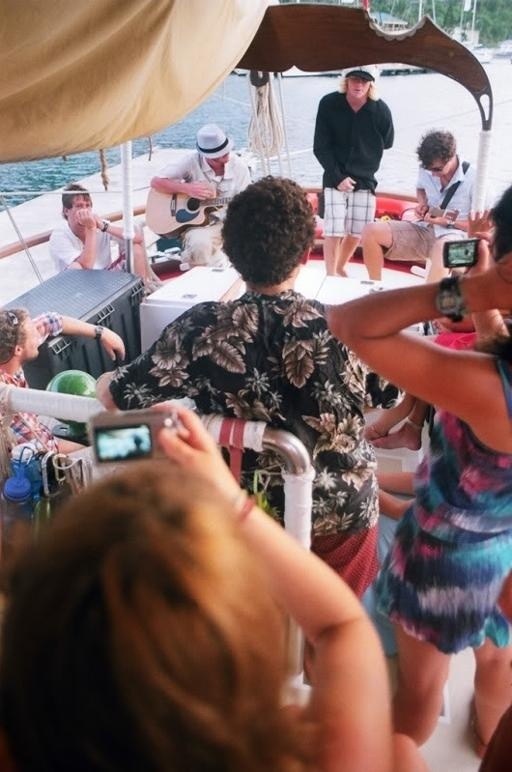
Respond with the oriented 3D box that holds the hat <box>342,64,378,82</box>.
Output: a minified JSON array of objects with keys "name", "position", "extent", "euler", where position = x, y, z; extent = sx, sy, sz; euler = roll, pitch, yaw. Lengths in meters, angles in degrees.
[{"name":"hat","position":[0.776,-2.335,4.256],"extent":[0.230,0.099,0.263],"euler":[2,27,8]}]

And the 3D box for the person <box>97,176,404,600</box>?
[{"name":"person","position":[0.056,0.228,1.765],"extent":[0.949,1.597,0.465],"euler":[-4,24,-5]}]

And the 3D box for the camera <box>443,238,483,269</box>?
[{"name":"camera","position":[0.394,-0.253,1.095],"extent":[0.106,0.060,0.040],"euler":[-22,33,-35]}]

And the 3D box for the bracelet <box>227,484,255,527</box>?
[{"name":"bracelet","position":[-0.012,0.111,0.534],"extent":[0.011,0.031,0.023],"euler":[-9,16,17]}]

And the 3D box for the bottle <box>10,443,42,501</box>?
[{"name":"bottle","position":[-0.449,0.171,1.113],"extent":[0.070,0.103,0.049],"euler":[0,-5,-6]}]

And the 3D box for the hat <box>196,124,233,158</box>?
[{"name":"hat","position":[-0.382,-2.082,4.834],"extent":[0.238,0.140,0.307],"euler":[-18,62,-2]}]

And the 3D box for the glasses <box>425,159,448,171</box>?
[{"name":"glasses","position":[1.311,-1.596,4.097],"extent":[0.076,0.080,0.024],"euler":[6,-22,44]}]

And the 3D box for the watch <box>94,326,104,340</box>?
[{"name":"watch","position":[-0.737,-0.245,2.659],"extent":[0.037,0.055,0.049],"euler":[20,-27,-28]}]

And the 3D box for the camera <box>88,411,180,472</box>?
[{"name":"camera","position":[-0.122,0.047,0.533],"extent":[0.068,0.049,0.020],"euler":[-3,-13,-16]}]

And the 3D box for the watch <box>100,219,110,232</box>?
[{"name":"watch","position":[-1.193,-1.275,4.494],"extent":[0.076,0.116,0.103],"euler":[7,14,-8]}]

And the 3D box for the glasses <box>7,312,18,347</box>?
[{"name":"glasses","position":[-0.942,-0.234,2.209],"extent":[0.039,0.079,0.124],"euler":[-12,29,-19]}]
